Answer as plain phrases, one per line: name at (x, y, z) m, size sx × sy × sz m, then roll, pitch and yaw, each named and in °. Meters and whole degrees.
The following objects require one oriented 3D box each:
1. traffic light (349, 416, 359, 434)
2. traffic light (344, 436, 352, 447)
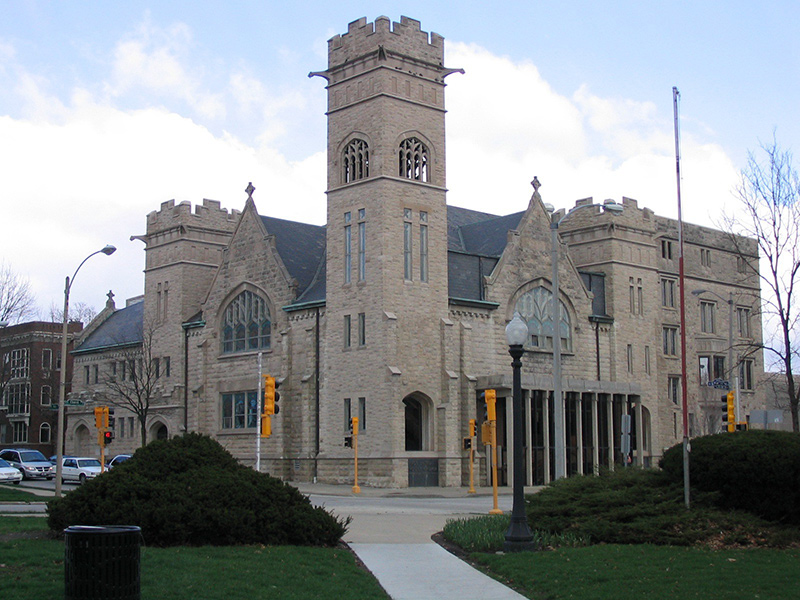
traffic light at (-2.052, 5.650, 44.895) m, size 0.217 × 0.804 × 0.586 m, roll 2°, pitch 2°, yaw -7°
traffic light at (-2.485, 6.607, 46.387) m, size 0.457 × 0.469 × 0.462 m, roll 2°, pitch 0°, yaw 23°
